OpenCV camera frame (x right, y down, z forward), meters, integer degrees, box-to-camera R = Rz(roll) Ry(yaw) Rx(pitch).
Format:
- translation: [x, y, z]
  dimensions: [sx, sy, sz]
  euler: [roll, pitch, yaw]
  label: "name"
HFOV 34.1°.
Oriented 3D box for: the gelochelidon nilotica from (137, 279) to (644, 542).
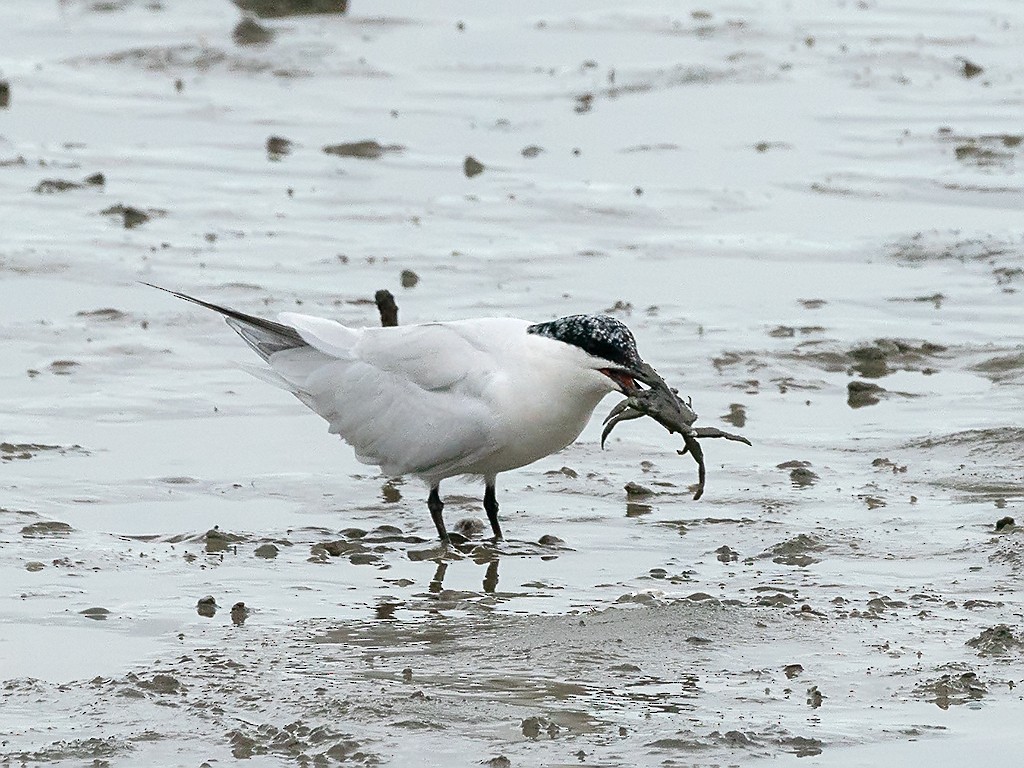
- translation: [-0.615, 0.033, 12.341]
  dimensions: [4.835, 1.506, 1.527]
  euler: [12, 26, 41]
  label: "gelochelidon nilotica"
